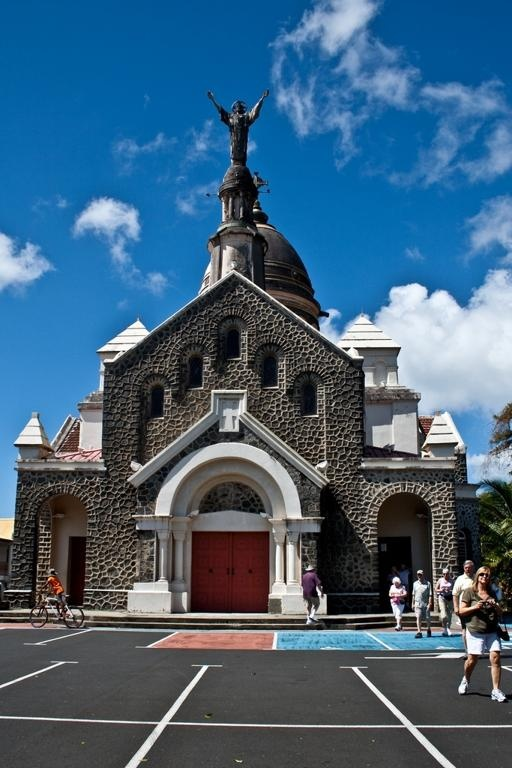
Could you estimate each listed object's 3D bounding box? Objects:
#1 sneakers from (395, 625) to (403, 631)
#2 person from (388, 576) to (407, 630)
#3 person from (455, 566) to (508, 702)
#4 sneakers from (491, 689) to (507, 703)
[{"bbox_3d":[3.872,6.587,21.696,0.122,0.157,0.373,2,-12,4],"label":"sneakers"},{"bbox_3d":[3.805,5.883,21.427,0.359,1.398,1.342,-4,-15,10],"label":"person"},{"bbox_3d":[3.114,3.429,11.064,0.510,1.762,0.869,7,-17,-29],"label":"person"},{"bbox_3d":[3.213,4.133,10.595,0.133,0.131,0.288,0,0,2],"label":"sneakers"}]
